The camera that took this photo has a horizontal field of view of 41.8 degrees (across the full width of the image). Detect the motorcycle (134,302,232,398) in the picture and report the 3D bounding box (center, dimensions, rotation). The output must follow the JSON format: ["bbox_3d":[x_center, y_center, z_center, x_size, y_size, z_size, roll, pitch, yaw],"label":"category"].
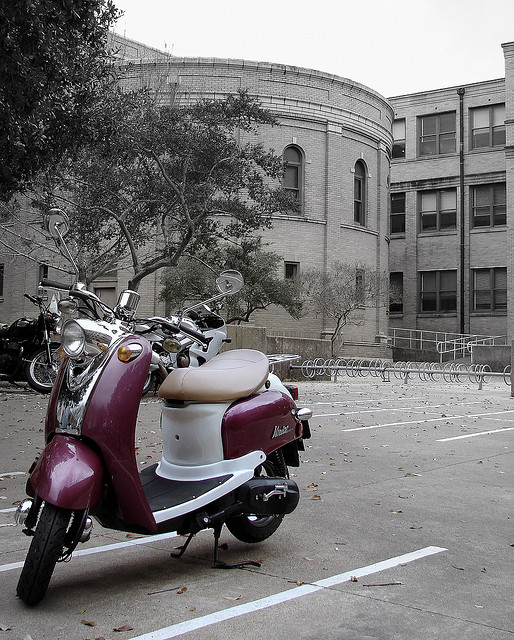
[{"bbox_3d":[-0.466,0.139,4.112,0.398,0.557,0.858,9,6,37],"label":"motorcycle"}]

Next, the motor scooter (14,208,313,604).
[{"bbox_3d":[-0.546,0.446,3.905,0.927,1.769,2.086,-2,-3,37],"label":"motor scooter"}]

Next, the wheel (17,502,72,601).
[{"bbox_3d":[-0.955,1.017,2.978,0.297,0.458,0.145,-1,-4,42],"label":"wheel"}]

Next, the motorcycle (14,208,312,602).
[{"bbox_3d":[-0.492,0.466,3.846,0.977,1.694,2.108,-2,-3,39],"label":"motorcycle"}]

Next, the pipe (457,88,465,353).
[{"bbox_3d":[13.815,-7.544,45.622,0.462,16.764,1.211,1,-3,17],"label":"pipe"}]
